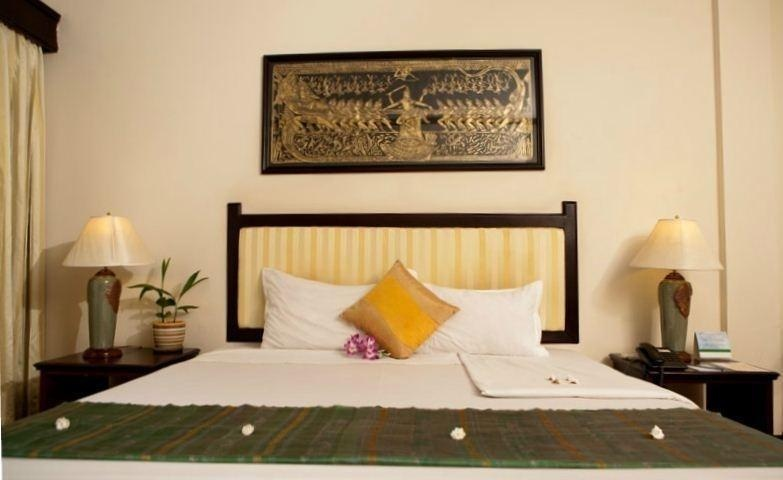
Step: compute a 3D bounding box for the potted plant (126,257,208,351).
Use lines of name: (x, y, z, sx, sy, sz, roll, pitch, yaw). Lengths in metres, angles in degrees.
potted plant: (-1.759, 0.538, 4.938, 0.808, 0.791, 0.663, 5, -10, -32)

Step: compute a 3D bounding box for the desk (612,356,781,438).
desk: (2.305, 1.004, 4.586, 0.869, 0.805, 0.714, -1, -5, 4)

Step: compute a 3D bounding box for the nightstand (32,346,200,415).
nightstand: (-2.216, 0.903, 4.593, 0.711, 0.673, 0.704, -1, -3, -6)

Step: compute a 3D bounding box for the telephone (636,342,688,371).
telephone: (1.960, 0.857, 4.344, 0.213, 0.081, 0.251, 2, 2, 3)
